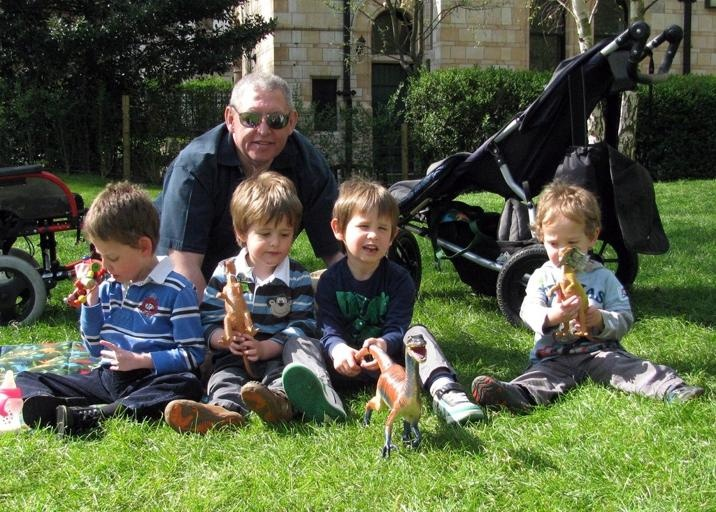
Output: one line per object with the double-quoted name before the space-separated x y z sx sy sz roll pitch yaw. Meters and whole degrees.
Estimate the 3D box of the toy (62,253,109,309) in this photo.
"toy" -1.591 0.158 4.496 0.215 0.342 0.100 35 2 -27

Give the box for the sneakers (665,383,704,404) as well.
"sneakers" 1.838 0.767 4.322 0.206 0.080 0.119 -3 10 -22

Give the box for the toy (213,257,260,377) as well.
"toy" -0.697 0.347 4.515 0.207 0.214 0.641 -9 56 -15

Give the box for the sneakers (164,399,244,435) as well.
"sneakers" -0.863 0.910 4.230 0.321 0.126 0.189 13 -1 -34

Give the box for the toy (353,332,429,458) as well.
"toy" 0.197 0.685 4.043 0.279 0.655 0.546 -1 9 -9

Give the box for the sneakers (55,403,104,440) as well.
"sneakers" -1.542 0.899 4.221 0.196 0.116 0.167 3 53 -20

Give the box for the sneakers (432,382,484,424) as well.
"sneakers" 0.539 0.814 4.312 0.204 0.180 0.312 -7 12 -40

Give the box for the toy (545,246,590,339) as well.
"toy" 1.256 0.217 4.565 0.234 0.541 0.191 4 10 21

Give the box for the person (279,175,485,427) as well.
"person" 0.155 0.210 4.442 1.050 1.343 1.271 1 8 9

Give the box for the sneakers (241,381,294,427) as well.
"sneakers" -0.496 0.807 4.291 0.136 0.397 0.177 -33 33 14
